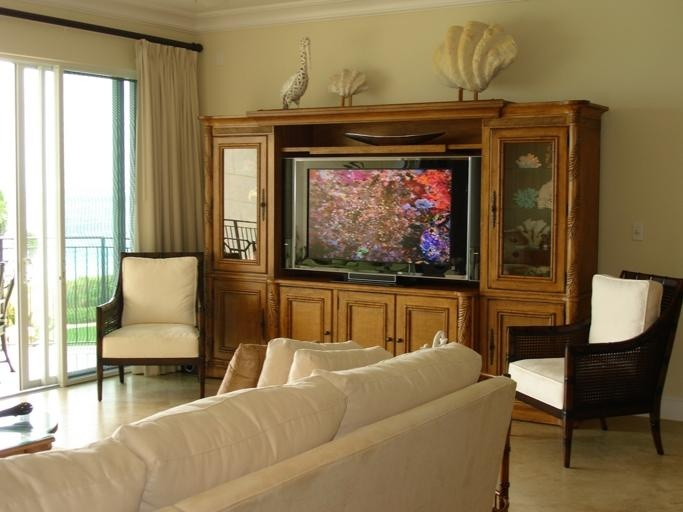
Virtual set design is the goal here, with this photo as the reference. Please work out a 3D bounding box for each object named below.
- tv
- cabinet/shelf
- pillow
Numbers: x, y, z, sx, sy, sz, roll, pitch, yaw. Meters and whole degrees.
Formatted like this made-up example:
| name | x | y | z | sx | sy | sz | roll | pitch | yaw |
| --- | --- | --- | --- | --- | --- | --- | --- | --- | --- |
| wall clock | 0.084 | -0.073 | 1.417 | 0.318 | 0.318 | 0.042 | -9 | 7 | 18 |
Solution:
| name | x | y | z | sx | sy | sz | roll | pitch | yaw |
| --- | --- | --- | --- | --- | --- | --- | --- | --- | --- |
| tv | 0.372 | -0.286 | 4.583 | 1.392 | 0.711 | 0.175 | 2 | 0 | 18 |
| cabinet/shelf | 0.552 | -0.030 | 3.895 | 3.174 | 1.881 | 0.879 | 1 | 3 | 24 |
| pillow | -0.223 | 0.419 | 2.258 | 0.423 | 0.159 | 0.409 | -1 | 2 | 34 |
